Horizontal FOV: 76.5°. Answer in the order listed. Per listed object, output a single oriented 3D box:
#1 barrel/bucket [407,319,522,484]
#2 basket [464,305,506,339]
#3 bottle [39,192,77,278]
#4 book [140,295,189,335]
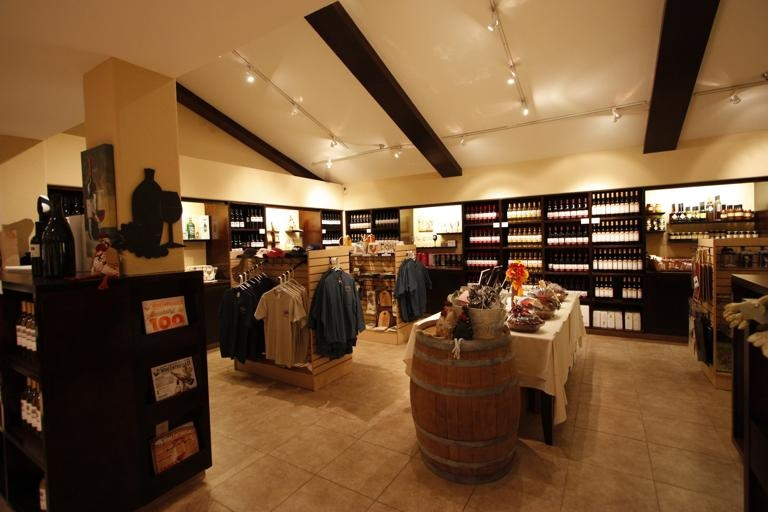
[{"bbox_3d":[0.818,1.491,5.463,1.298,1.479,1.333,-1,1,0],"label":"barrel/bucket"},{"bbox_3d":[1.067,0.678,5.103,0.337,0.245,0.319,-1,-4,-5],"label":"basket"},{"bbox_3d":[-3.201,-0.177,4.727,0.285,0.812,0.175,-5,3,-25],"label":"bottle"},{"bbox_3d":[-2.272,0.603,4.970,0.381,0.359,0.053,-7,-2,-40],"label":"book"}]
